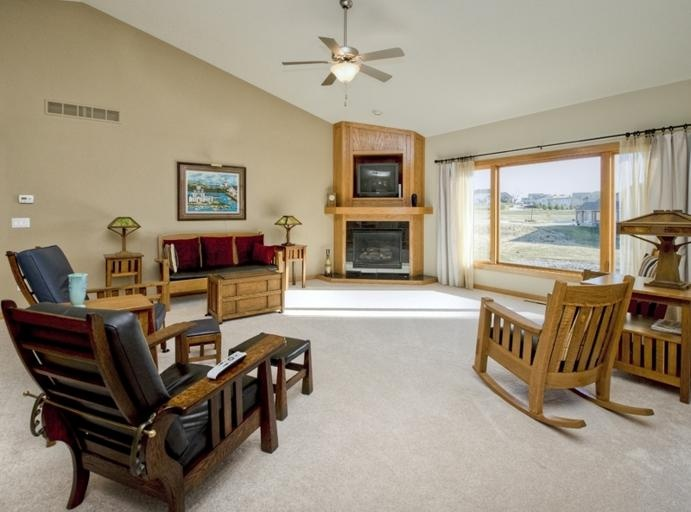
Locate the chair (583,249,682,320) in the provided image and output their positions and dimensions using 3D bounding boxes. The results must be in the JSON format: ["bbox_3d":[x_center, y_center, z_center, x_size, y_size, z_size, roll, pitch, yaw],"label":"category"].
[{"bbox_3d":[3.073,0.376,4.603,0.864,0.447,1.129,-2,-2,42],"label":"chair"}]

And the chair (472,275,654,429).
[{"bbox_3d":[1.685,0.667,3.569,0.858,1.017,1.319,0,3,-11],"label":"chair"}]

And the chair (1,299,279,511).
[{"bbox_3d":[-1.296,0.798,3.183,1.201,1.478,1.654,2,4,25],"label":"chair"}]

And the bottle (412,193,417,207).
[{"bbox_3d":[1.189,-0.977,7.703,0.097,0.232,0.172,1,9,7],"label":"bottle"}]

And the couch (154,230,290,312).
[{"bbox_3d":[-1.868,0.187,6.656,1.818,1.025,0.672,-5,12,-35],"label":"couch"}]

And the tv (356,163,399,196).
[{"bbox_3d":[0.507,-1.368,8.078,0.850,0.594,0.462,-3,9,-19],"label":"tv"}]

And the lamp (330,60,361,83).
[{"bbox_3d":[0.009,-1.874,4.513,0.259,0.148,0.249,2,8,15],"label":"lamp"}]

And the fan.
[{"bbox_3d":[0.033,-1.968,4.624,1.037,0.742,1.064,7,8,42],"label":"fan"}]

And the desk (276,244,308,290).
[{"bbox_3d":[-0.920,0.186,7.521,0.501,0.701,0.498,-2,6,-12],"label":"desk"}]

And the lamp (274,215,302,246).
[{"bbox_3d":[-0.974,-0.387,7.543,0.514,0.666,0.511,1,-2,-8],"label":"lamp"}]

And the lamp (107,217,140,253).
[{"bbox_3d":[-3.026,-0.284,6.026,0.388,0.474,0.343,-4,2,-36],"label":"lamp"}]

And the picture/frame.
[{"bbox_3d":[-2.136,-1.020,6.912,1.054,0.873,0.081,0,1,-40],"label":"picture/frame"}]
